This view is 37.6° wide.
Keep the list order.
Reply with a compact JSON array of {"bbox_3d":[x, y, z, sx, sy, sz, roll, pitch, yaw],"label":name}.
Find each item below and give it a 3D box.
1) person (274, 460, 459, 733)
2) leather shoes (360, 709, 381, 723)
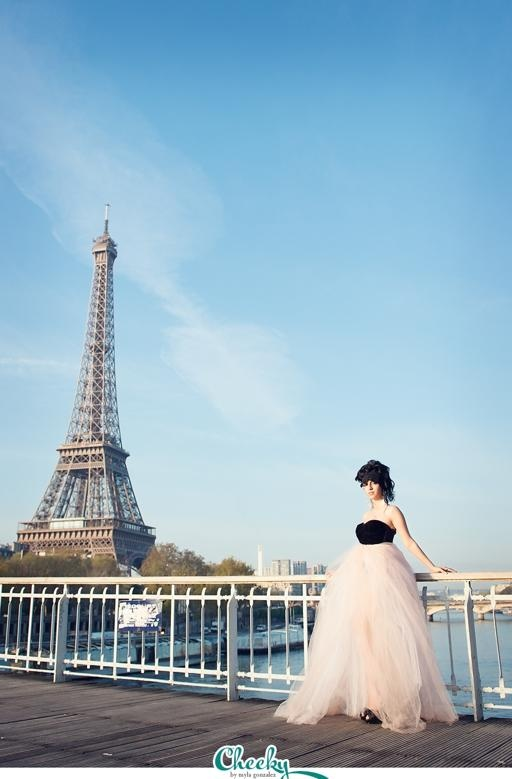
[{"bbox_3d":[0.881,1.532,5.986,1.160,2.048,0.780,-10,-18,31],"label":"person"},{"bbox_3d":[0.841,2.417,5.583,0.089,0.117,0.042,-33,-12,3],"label":"leather shoes"}]
